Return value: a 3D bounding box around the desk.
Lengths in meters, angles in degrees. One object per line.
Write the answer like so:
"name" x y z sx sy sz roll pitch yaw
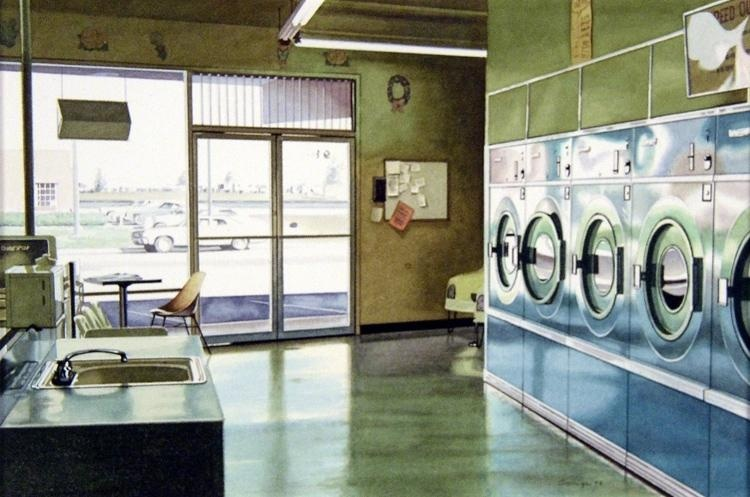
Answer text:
"desk" -3.081 0.684 7.808 0.858 0.631 0.839 -2 -7 28

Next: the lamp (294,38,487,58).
"lamp" 0.200 -2.330 7.370 2.228 0.100 0.369 -2 9 -14

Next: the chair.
"chair" -2.482 0.806 8.163 0.649 1.075 1.061 -2 9 -15

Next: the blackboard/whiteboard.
"blackboard/whiteboard" 0.544 -0.871 9.302 0.935 0.789 0.090 -1 -1 -28
